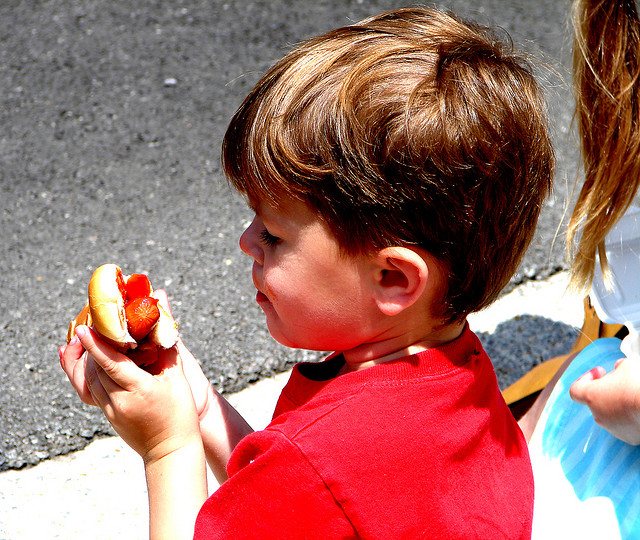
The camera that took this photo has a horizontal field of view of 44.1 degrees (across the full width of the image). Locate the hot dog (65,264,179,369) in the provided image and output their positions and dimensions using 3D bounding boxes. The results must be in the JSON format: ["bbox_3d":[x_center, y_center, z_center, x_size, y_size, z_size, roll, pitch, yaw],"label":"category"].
[{"bbox_3d":[-0.407,0.099,1.745,0.205,0.257,0.120,17,52,19],"label":"hot dog"}]

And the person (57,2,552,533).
[{"bbox_3d":[0.015,-0.108,2.027,1.167,0.885,1.305,14,108,28],"label":"person"}]
